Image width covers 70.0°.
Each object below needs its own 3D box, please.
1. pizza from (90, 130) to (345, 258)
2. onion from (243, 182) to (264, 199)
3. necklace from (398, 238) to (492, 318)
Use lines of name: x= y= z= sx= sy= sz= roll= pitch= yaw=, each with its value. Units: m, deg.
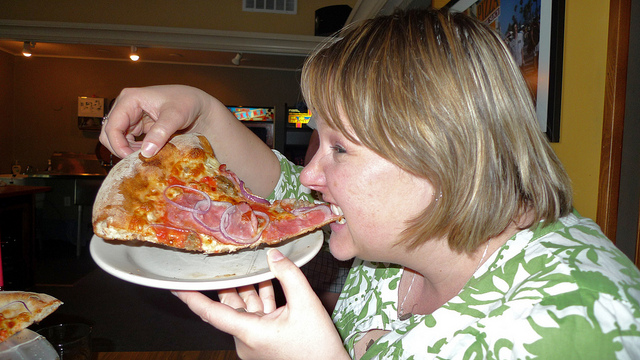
pizza: x=-0.664 y=0.204 z=2.763 sx=1.222 sy=0.208 sz=0.797 roll=17 pitch=47 yaw=1
onion: x=-0.458 y=0.067 z=3.101 sx=0.138 sy=0.020 sz=0.042 roll=36 pitch=63 yaw=22
necklace: x=0.721 y=0.565 z=2.742 sx=0.433 sy=0.600 sz=0.219 roll=-6 pitch=51 yaw=-25
